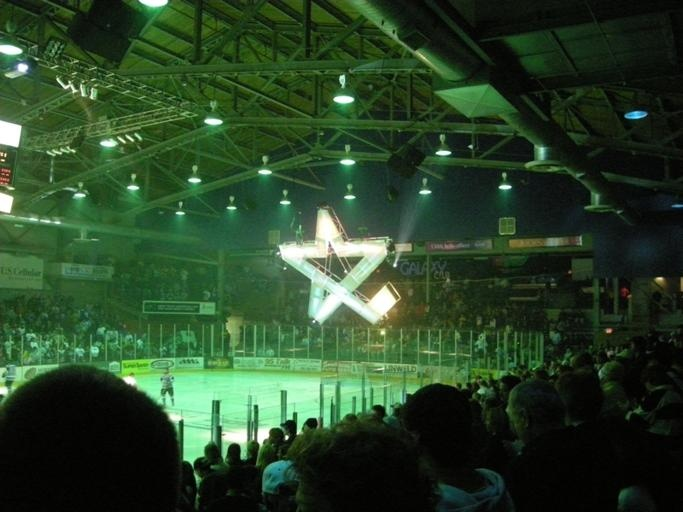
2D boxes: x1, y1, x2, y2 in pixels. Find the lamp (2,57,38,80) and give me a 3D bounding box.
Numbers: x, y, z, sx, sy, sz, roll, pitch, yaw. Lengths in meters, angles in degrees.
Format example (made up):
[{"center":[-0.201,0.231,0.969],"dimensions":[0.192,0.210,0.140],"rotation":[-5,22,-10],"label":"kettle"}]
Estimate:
[{"center":[-9.269,-5.456,25.448],"dimensions":[0.785,0.421,0.767],"rotation":[4,-12,-28],"label":"lamp"}]
